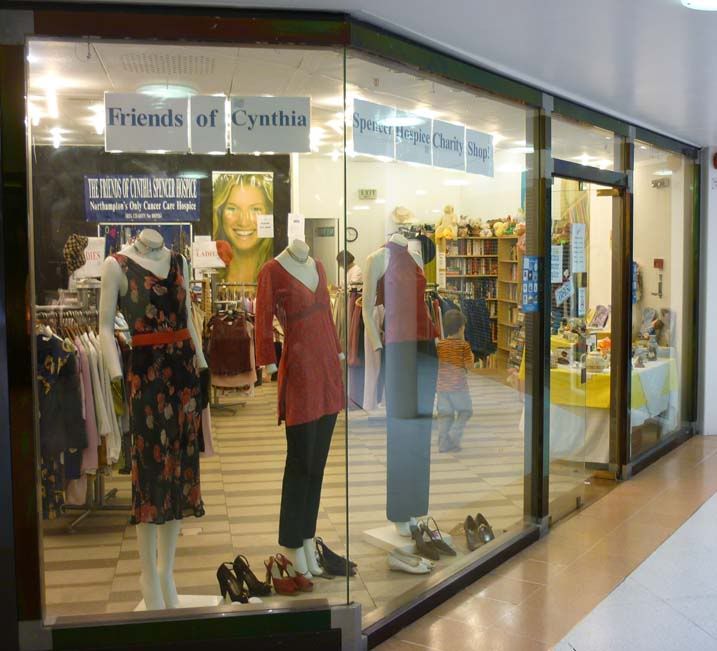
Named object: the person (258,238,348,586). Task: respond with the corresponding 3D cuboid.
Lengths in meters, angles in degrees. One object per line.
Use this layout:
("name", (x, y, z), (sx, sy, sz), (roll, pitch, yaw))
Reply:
("person", (-0.256, 0.355, 2.903), (0.374, 1.423, 0.117), (0, 5, -11))

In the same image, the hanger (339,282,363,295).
("hanger", (-0.036, -0.161, 2.991), (0.035, 0.052, 0.128), (1, 2, 33))

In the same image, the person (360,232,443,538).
("person", (0.202, 0.287, 3.271), (0.116, 1.447, 0.522), (5, 6, 36))

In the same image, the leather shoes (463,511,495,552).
("leather shoes", (0.646, 1.143, 3.749), (0.143, 0.212, 0.072), (-15, -5, -45))

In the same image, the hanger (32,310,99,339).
("hanger", (-1.144, -0.004, 2.754), (0.313, 0.165, 0.100), (2, 2, -24))

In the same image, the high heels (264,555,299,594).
("high heels", (-0.338, 1.073, 2.911), (0.103, 0.195, 0.056), (-26, -2, -19))

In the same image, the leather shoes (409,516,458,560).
("leather shoes", (0.372, 1.086, 3.422), (0.223, 0.106, 0.168), (10, 6, 40))

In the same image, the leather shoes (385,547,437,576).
("leather shoes", (0.246, 1.166, 3.311), (0.211, 0.090, 0.134), (14, 41, -16))

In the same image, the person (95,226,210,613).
("person", (-0.849, 0.393, 2.820), (0.421, 1.573, 0.142), (-1, 5, -23))

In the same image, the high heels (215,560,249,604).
("high heels", (-0.535, 1.084, 2.917), (0.236, 0.132, 0.075), (13, 12, 43))
